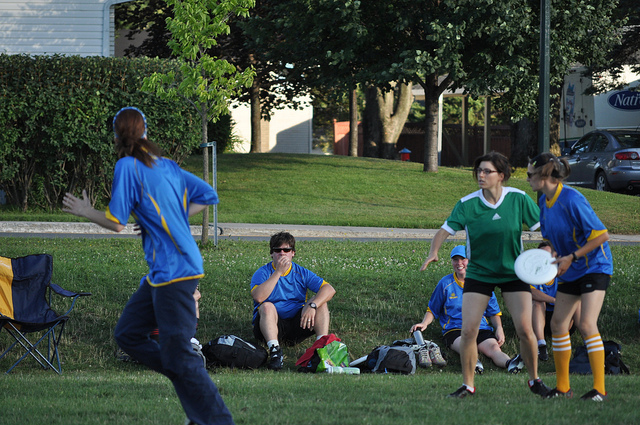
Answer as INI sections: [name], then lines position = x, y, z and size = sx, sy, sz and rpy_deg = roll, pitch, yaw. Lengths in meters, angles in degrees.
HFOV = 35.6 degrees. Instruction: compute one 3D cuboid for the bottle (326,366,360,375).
[bottle]
position = 0.486, 3.281, 21.080
size = 0.706, 0.119, 0.308
rpy_deg = 2, 2, -2
